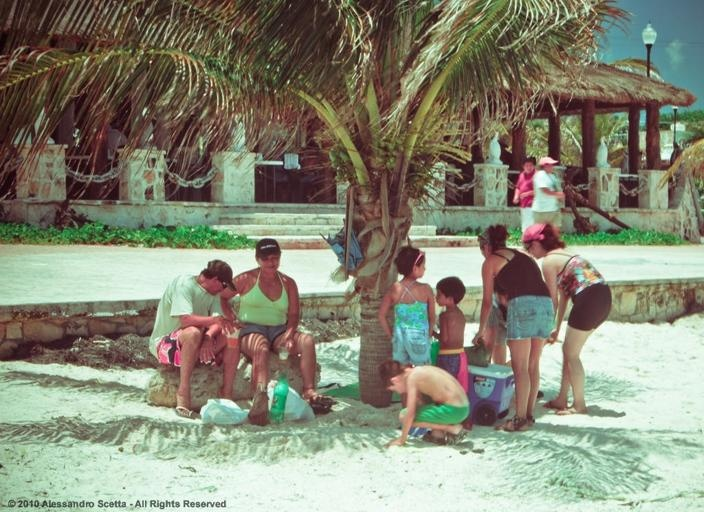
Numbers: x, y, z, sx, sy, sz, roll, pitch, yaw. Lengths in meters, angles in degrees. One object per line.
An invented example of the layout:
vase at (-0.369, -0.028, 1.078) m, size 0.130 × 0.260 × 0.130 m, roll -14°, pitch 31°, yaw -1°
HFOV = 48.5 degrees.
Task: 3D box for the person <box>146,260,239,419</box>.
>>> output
person at (-1.548, 0.736, 7.663) m, size 0.836 × 1.440 × 0.650 m, roll -1°, pitch 10°, yaw -17°

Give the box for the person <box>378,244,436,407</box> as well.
person at (0.541, 0.691, 7.696) m, size 0.511 × 1.733 × 0.452 m, roll 1°, pitch 13°, yaw 14°

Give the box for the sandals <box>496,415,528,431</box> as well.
sandals at (1.536, 1.569, 7.363) m, size 0.227 × 0.118 × 0.144 m, roll 1°, pitch -7°, yaw -1°

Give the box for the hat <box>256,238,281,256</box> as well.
hat at (-0.841, -0.108, 7.719) m, size 0.221 × 0.174 × 0.285 m, roll 0°, pitch 11°, yaw -11°

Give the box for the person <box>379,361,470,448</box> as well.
person at (0.688, 1.289, 7.162) m, size 0.699 × 0.879 × 0.546 m, roll -2°, pitch 6°, yaw 15°

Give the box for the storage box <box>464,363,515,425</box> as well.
storage box at (1.318, 1.332, 7.633) m, size 0.492 × 0.464 × 0.386 m, roll 2°, pitch 8°, yaw 21°

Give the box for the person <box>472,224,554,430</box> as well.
person at (1.543, 0.658, 7.510) m, size 0.712 × 1.905 × 0.683 m, roll 8°, pitch 11°, yaw 31°

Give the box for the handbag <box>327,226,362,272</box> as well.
handbag at (-0.019, -0.155, 7.912) m, size 0.138 × 0.490 × 0.296 m, roll -6°, pitch -28°, yaw -43°

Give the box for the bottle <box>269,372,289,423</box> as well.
bottle at (-0.694, 1.335, 7.393) m, size 0.182 × 0.430 × 0.208 m, roll 1°, pitch 10°, yaw -7°

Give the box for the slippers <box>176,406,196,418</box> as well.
slippers at (-1.601, 1.477, 7.483) m, size 0.178 × 0.077 × 0.094 m, roll 18°, pitch 7°, yaw 30°

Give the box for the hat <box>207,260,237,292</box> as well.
hat at (-1.278, 0.157, 7.696) m, size 0.295 × 0.162 × 0.208 m, roll 39°, pitch 10°, yaw -18°
